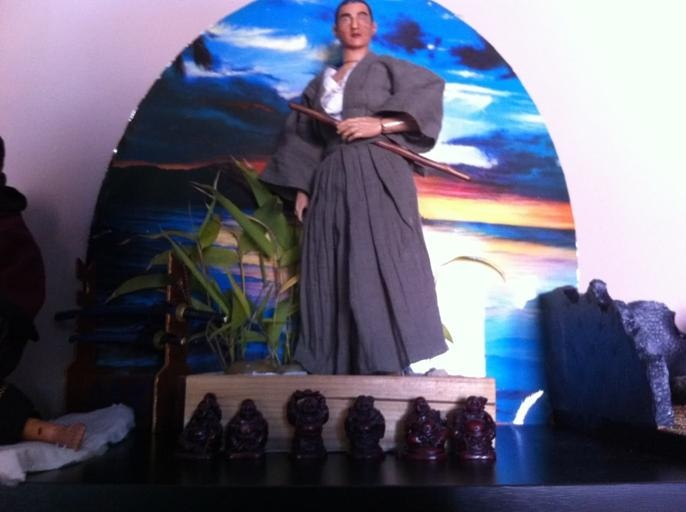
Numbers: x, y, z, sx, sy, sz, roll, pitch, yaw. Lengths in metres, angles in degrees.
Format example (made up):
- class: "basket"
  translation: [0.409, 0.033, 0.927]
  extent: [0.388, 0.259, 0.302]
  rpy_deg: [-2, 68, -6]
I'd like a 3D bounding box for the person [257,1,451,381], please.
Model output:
- class: "person"
  translation: [0.080, -0.395, 3.521]
  extent: [0.903, 2.018, 0.387]
  rpy_deg: [0, -12, 8]
